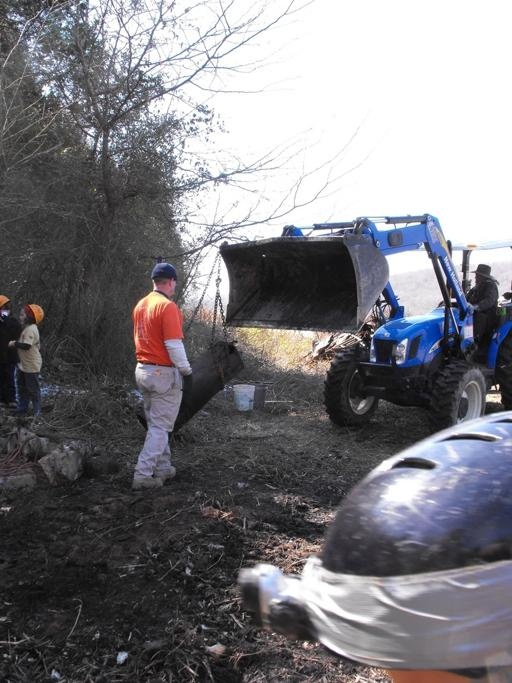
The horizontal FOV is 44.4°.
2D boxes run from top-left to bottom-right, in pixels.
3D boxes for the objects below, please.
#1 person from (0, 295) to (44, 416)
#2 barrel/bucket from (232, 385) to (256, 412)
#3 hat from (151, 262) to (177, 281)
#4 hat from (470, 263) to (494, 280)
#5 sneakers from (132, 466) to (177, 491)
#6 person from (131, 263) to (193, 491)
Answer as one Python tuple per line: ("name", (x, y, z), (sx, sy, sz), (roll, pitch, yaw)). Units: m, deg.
("person", (-2.426, 0.169, 6.493), (0.413, 1.078, 1.323), (3, 7, -19))
("barrel/bucket", (-0.167, 0.702, 7.611), (0.318, 0.261, 0.295), (0, 2, 0))
("hat", (-0.678, -0.495, 4.639), (0.158, 0.099, 0.191), (1, 21, 2))
("hat", (2.544, -0.772, 7.045), (0.201, 0.096, 0.173), (7, 10, -44))
("sneakers", (-0.714, 0.966, 4.395), (0.094, 0.111, 0.282), (15, 29, 38))
("person", (-0.691, 0.227, 4.473), (0.429, 1.545, 0.634), (5, 8, -11))
